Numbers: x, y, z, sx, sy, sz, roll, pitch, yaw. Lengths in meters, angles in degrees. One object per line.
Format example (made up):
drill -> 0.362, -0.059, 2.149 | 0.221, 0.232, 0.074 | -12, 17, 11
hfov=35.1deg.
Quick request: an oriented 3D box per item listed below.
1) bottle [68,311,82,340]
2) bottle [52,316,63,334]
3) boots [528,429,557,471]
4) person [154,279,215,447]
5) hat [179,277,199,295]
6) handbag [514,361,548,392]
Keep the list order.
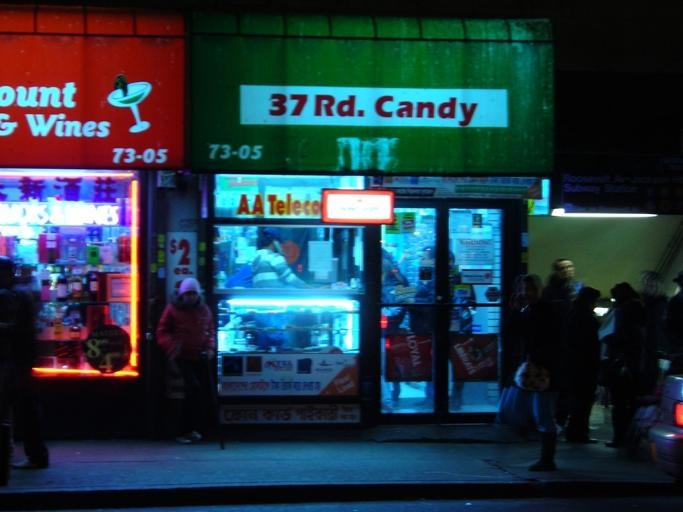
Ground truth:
bottle -> -3.540, 0.924, 14.199 | 0.176, 0.342, 0.143 | -2, 15, -8
bottle -> -3.758, 0.928, 14.197 | 0.121, 0.201, 0.083 | -3, 15, -15
boots -> 2.447, 2.341, 13.005 | 0.310, 0.514, 0.442 | 3, 14, 10
person -> -2.049, 1.363, 14.046 | 0.730, 2.099, 0.680 | 0, 15, -3
hat -> -2.000, 0.397, 14.057 | 0.216, 0.171, 0.254 | -1, 4, -13
handbag -> 2.283, 1.443, 12.826 | 0.387, 0.201, 0.379 | 0, -2, 38
